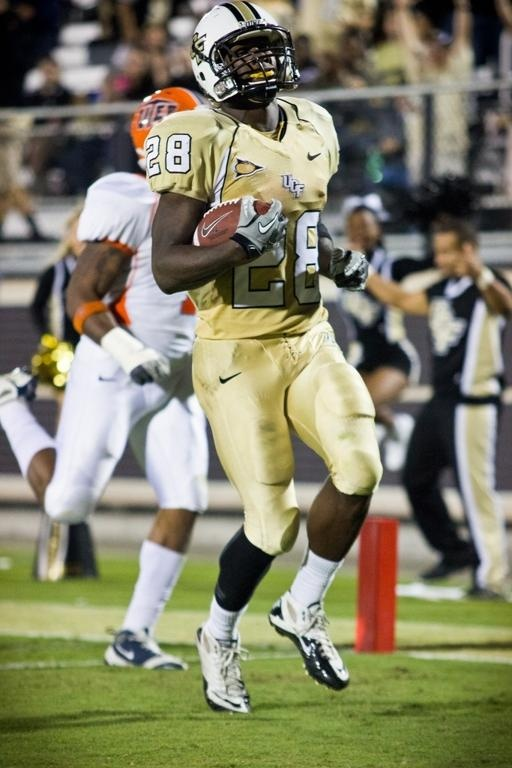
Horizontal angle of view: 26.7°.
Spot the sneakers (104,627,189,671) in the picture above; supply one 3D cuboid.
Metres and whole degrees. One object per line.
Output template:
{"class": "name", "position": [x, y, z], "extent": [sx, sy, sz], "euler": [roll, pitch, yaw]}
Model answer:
{"class": "sneakers", "position": [-0.272, 0.624, 2.549], "extent": [0.253, 0.083, 0.094], "euler": [1, 0, 3]}

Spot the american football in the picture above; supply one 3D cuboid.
{"class": "american football", "position": [-0.029, -0.292, 2.064], "extent": [0.116, 0.071, 0.148], "euler": [14, -18, -34]}

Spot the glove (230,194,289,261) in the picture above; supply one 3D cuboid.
{"class": "glove", "position": [0.000, -0.306, 2.059], "extent": [0.107, 0.121, 0.103], "euler": [19, 24, 41]}

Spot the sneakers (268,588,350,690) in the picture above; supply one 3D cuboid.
{"class": "sneakers", "position": [0.106, 0.517, 2.191], "extent": [0.135, 0.180, 0.152], "euler": [0, 0, -9]}

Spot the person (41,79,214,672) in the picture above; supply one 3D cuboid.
{"class": "person", "position": [-0.183, -0.045, 2.652], "extent": [0.427, 1.330, 0.514], "euler": [-10, 20, -35]}
